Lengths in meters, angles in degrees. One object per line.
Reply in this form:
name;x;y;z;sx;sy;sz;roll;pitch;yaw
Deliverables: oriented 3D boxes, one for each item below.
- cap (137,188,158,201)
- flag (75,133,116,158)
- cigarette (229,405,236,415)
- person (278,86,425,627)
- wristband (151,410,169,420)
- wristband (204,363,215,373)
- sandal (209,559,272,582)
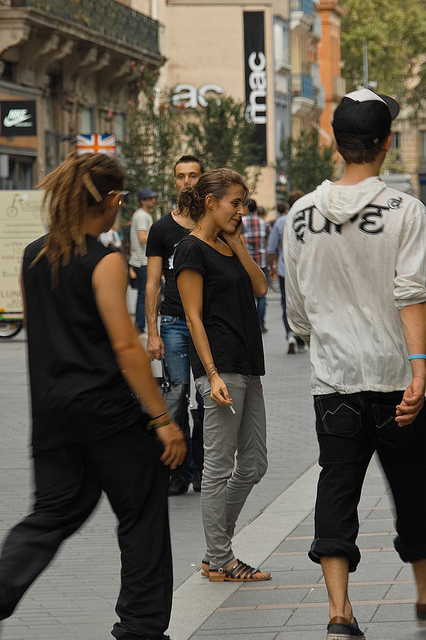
cap;-1.173;-2.243;15.133;0.306;0.221;0.324;-3;0;-5
flag;-2.021;-3.048;14.660;0.609;0.422;0.751;-3;0;-14
cigarette;0.090;0.391;3.679;0.013;0.051;0.006;-32;-15;-10
person;0.467;0.088;2.714;0.430;1.697;0.486;-3;0;4
wristband;-0.149;0.283;2.529;0.034;0.025;0.085;-3;-1;22
wristband;-0.010;0.204;3.672;0.033;0.029;0.038;-30;-29;-23
sandal;0.135;1.094;3.734;0.291;0.113;0.102;-3;-7;10
